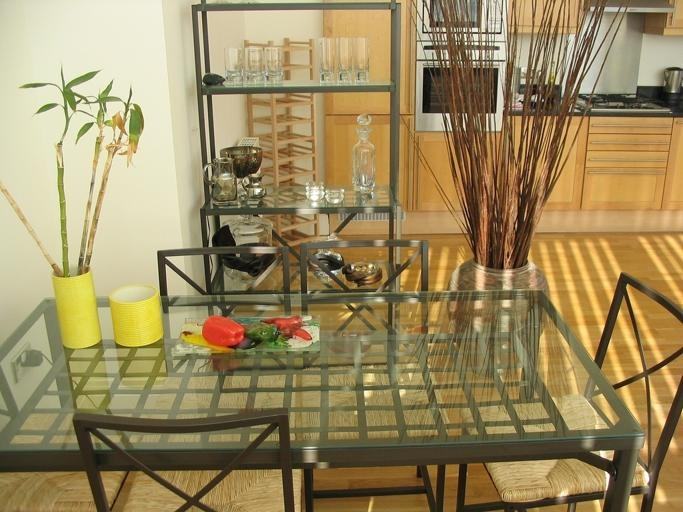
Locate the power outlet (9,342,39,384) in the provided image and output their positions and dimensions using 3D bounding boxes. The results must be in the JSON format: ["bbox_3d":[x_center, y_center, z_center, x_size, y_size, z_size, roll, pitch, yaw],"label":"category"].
[{"bbox_3d":[-1.075,0.376,1.852,0.088,0.089,0.140,0,27,-5],"label":"power outlet"}]

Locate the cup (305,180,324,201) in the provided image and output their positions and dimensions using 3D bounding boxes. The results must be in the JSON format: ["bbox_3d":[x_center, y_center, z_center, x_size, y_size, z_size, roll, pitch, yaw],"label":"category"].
[{"bbox_3d":[-0.161,-0.419,3.411,0.143,0.121,0.125,0,22,1],"label":"cup"}]

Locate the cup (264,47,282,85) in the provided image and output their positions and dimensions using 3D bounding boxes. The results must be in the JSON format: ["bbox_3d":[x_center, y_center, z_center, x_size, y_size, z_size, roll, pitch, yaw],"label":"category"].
[{"bbox_3d":[-0.400,-1.129,3.180,0.060,0.198,0.113,15,27,31],"label":"cup"}]

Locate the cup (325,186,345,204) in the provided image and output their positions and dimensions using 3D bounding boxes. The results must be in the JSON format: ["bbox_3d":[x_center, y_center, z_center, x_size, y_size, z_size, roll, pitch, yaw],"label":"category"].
[{"bbox_3d":[-0.038,-0.379,3.345,0.121,0.069,0.117,0,14,0],"label":"cup"}]

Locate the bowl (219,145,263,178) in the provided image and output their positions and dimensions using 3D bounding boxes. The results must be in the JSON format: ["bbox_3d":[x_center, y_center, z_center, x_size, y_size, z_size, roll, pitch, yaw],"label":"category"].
[{"bbox_3d":[-0.585,-0.564,3.300,0.245,0.216,0.205,0,27,0],"label":"bowl"}]

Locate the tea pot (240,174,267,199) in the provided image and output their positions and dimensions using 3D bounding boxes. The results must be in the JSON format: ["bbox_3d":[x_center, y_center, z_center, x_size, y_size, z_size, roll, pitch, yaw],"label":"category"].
[{"bbox_3d":[-0.551,-0.439,3.380,0.196,0.151,0.122,-3,21,-8],"label":"tea pot"}]

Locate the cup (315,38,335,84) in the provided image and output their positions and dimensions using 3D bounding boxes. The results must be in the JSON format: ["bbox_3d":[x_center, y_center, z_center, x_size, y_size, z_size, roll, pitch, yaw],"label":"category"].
[{"bbox_3d":[-0.086,-1.140,3.135,0.103,0.247,0.091,-1,24,-2],"label":"cup"}]

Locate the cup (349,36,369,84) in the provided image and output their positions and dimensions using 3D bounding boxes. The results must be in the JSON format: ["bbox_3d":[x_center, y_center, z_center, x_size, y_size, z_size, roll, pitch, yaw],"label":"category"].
[{"bbox_3d":[0.110,-1.133,3.115,0.090,0.241,0.048,-5,25,-11],"label":"cup"}]

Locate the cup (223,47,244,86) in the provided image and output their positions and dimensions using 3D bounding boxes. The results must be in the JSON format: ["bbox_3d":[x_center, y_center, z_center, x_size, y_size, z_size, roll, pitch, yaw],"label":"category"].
[{"bbox_3d":[-0.636,-1.111,3.152,0.126,0.204,0.078,4,24,10],"label":"cup"}]

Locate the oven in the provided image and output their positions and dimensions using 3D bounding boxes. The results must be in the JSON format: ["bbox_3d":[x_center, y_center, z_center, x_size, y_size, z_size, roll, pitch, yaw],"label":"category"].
[{"bbox_3d":[1.040,-1.448,4.731,0.786,0.701,0.571,4,0,1],"label":"oven"}]

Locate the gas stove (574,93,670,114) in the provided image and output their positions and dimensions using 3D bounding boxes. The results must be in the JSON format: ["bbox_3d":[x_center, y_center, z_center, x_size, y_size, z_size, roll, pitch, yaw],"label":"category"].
[{"bbox_3d":[2.652,-1.424,5.033,0.724,0.151,0.812,5,20,12],"label":"gas stove"}]

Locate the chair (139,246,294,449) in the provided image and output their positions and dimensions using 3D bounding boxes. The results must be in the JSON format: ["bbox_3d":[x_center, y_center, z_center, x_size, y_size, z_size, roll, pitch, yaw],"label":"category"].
[{"bbox_3d":[-0.459,0.314,1.902,0.480,0.693,0.383,0,25,-1],"label":"chair"}]
